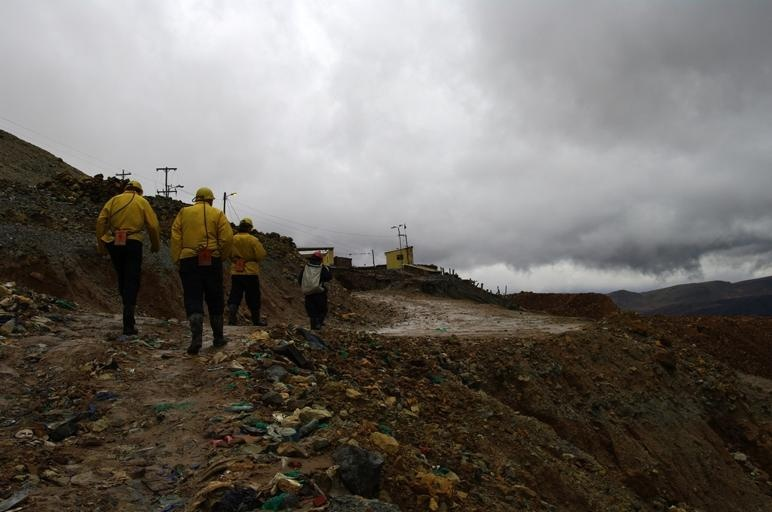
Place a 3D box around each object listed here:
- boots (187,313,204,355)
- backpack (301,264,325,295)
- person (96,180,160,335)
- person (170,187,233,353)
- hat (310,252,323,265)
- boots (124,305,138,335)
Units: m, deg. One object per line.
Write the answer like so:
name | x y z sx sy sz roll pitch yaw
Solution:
boots | -3.450 1.427 8.471 0.249 0.715 0.210 4 -3 -26
backpack | -1.804 0.600 11.631 0.699 0.846 0.451 1 -17 4
person | -4.972 0.018 8.940 1.057 2.925 0.608 2 -3 7
person | -3.447 0.255 8.707 1.037 3.081 0.568 3 -3 -19
hat | -1.745 0.070 11.876 0.300 0.321 0.327 -4 -20 7
boots | -4.731 1.204 8.729 0.235 0.550 0.320 1 -3 19
